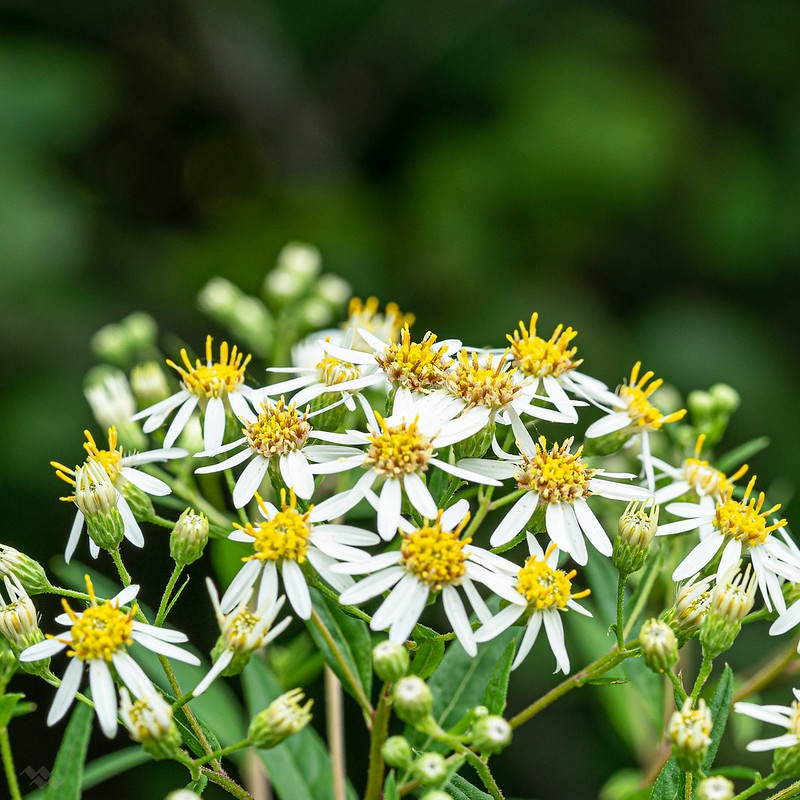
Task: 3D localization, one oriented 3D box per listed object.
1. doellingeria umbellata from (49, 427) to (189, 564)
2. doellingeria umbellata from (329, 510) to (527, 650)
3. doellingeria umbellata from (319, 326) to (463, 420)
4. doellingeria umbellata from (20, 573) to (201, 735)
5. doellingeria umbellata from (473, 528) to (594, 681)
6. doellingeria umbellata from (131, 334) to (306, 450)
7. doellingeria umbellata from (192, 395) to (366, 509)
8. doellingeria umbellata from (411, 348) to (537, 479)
[{"bbox_3d":[-0.869,0.199,2.697,0.411,0.138,0.434,17,47,42],"label":"doellingeria umbellata"},{"bbox_3d":[0.071,0.457,2.373,0.365,0.145,0.392,-15,53,-14],"label":"doellingeria umbellata"},{"bbox_3d":[0.005,-0.085,2.760,0.301,0.159,0.305,-23,-16,29],"label":"doellingeria umbellata"},{"bbox_3d":[-0.713,0.590,2.285,0.372,0.224,0.350,-17,44,-36],"label":"doellingeria umbellata"},{"bbox_3d":[0.368,0.517,2.475,0.378,0.237,0.429,6,49,1],"label":"doellingeria umbellata"},{"bbox_3d":[-0.572,-0.022,2.867,0.362,0.212,0.393,-6,-8,26],"label":"doellingeria umbellata"},{"bbox_3d":[-0.351,0.124,2.683,0.404,0.222,0.544,-3,26,23],"label":"doellingeria umbellata"},{"bbox_3d":[0.226,0.014,2.680,0.301,0.321,0.317,10,3,37],"label":"doellingeria umbellata"}]
